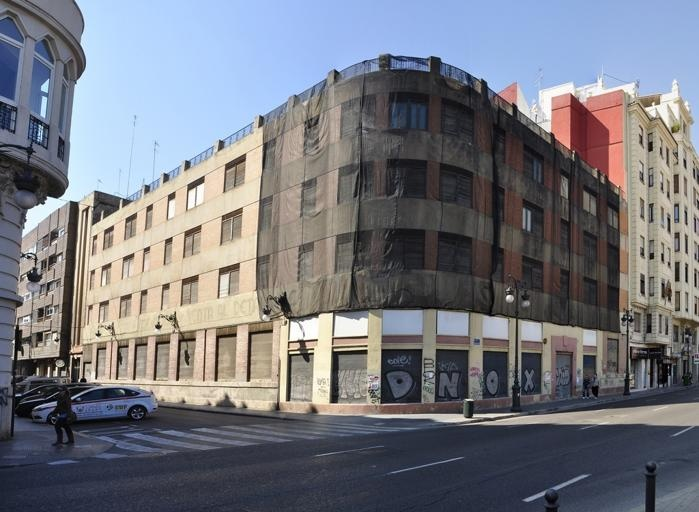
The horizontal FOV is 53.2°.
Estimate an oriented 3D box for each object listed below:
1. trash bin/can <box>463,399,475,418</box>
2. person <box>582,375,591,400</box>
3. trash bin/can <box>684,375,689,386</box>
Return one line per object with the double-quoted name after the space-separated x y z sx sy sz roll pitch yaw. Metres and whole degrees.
6.403 8.405 37.877 0.461 0.872 0.863 0 -1 6 "trash bin/can"
17.855 10.052 52.747 0.468 1.667 1.090 0 0 17 "person"
34.974 13.113 72.775 0.352 1.046 0.932 0 -1 37 "trash bin/can"
